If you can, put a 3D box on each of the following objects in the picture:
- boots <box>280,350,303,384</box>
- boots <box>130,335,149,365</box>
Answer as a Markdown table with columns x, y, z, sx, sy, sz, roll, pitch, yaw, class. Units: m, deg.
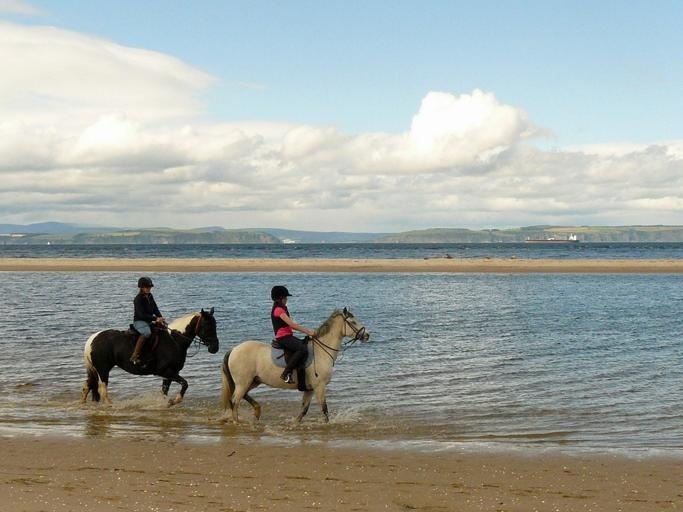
| x | y | z | sx | sy | sz | roll | pitch | yaw | class |
| --- | --- | --- | --- | --- | --- | --- | --- | --- | --- |
| -1.326 | 3.209 | 28.622 | 0.695 | 1.009 | 0.265 | 0 | 2 | -3 | boots |
| -6.047 | 2.885 | 29.949 | 0.548 | 0.893 | 0.265 | 0 | 2 | -2 | boots |
